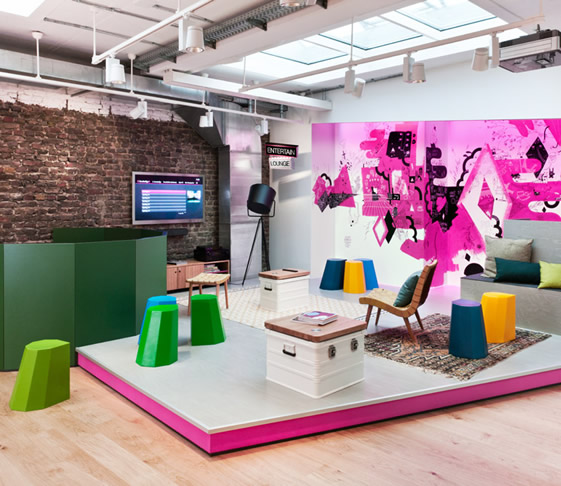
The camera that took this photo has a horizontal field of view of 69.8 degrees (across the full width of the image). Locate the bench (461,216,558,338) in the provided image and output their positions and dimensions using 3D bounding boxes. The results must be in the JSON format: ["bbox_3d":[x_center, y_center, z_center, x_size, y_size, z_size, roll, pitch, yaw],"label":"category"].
[{"bbox_3d":[3.197,0.453,5.496,0.824,1.553,1.605,3,-1,-36],"label":"bench"}]

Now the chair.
[{"bbox_3d":[1.443,0.660,5.433,1.219,1.318,0.805,4,4,29],"label":"chair"}]

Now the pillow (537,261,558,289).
[{"bbox_3d":[3.532,0.423,5.265,0.182,0.308,0.331,6,11,33],"label":"pillow"}]

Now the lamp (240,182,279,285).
[{"bbox_3d":[-0.499,-0.250,8.917,0.744,2.181,1.500,0,9,-2],"label":"lamp"}]

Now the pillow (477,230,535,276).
[{"bbox_3d":[3.453,0.141,6.079,0.688,0.710,0.278,3,-22,19],"label":"pillow"}]

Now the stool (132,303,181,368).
[{"bbox_3d":[-1.219,0.914,4.175,0.470,0.577,0.559,6,8,24],"label":"stool"}]

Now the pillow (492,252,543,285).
[{"bbox_3d":[3.340,0.402,5.627,0.556,0.298,0.411,5,10,27],"label":"pillow"}]

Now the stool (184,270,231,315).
[{"bbox_3d":[-1.206,0.737,6.342,0.701,0.694,0.702,-1,0,8],"label":"stool"}]

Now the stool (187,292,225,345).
[{"bbox_3d":[-0.760,0.874,4.737,0.520,0.567,0.475,0,3,4],"label":"stool"}]

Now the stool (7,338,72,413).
[{"bbox_3d":[-2.094,1.141,3.659,0.464,0.570,0.570,13,14,41],"label":"stool"}]
